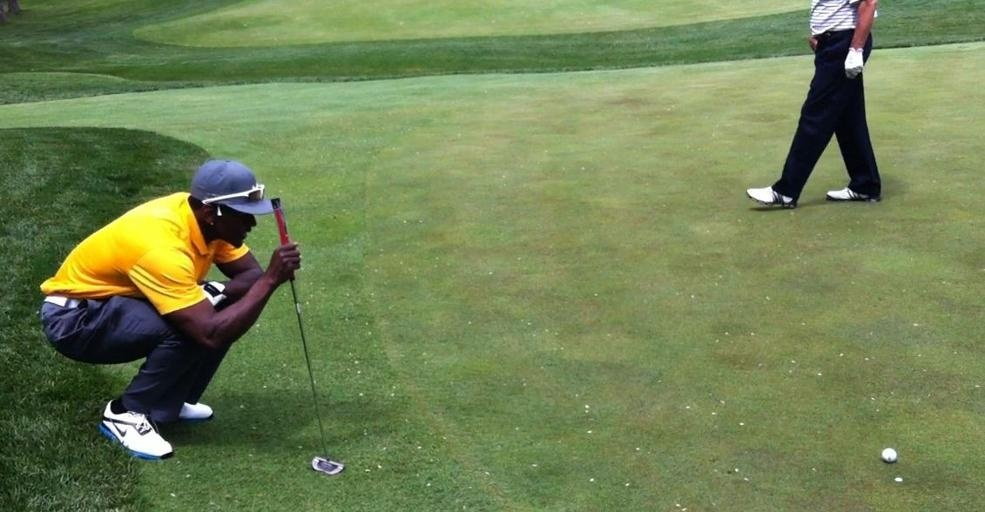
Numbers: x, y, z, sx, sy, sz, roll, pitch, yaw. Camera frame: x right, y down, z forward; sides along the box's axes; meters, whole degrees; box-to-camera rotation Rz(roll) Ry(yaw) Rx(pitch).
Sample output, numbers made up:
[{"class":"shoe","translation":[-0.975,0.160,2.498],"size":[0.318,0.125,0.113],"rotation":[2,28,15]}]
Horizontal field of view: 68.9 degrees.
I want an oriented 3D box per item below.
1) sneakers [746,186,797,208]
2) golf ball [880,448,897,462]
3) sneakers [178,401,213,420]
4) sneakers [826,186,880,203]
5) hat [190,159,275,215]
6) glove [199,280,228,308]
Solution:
[{"class":"sneakers","translation":[3.163,-0.642,8.218],"size":[0.582,0.185,0.232],"rotation":[12,-2,-5]},{"class":"golf ball","translation":[3.035,1.529,5.523],"size":[0.126,0.089,0.058],"rotation":[8,15,12]},{"class":"sneakers","translation":[-2.499,1.319,6.049],"size":[0.375,0.175,0.097],"rotation":[-5,42,-11]},{"class":"sneakers","translation":[4.102,-0.701,8.242],"size":[0.558,0.199,0.186],"rotation":[9,33,31]},{"class":"hat","translation":[-2.124,-0.587,5.891],"size":[0.766,0.266,0.514],"rotation":[17,30,9]},{"class":"glove","translation":[-2.418,0.328,6.199],"size":[0.221,0.094,0.249],"rotation":[22,12,-5]}]
